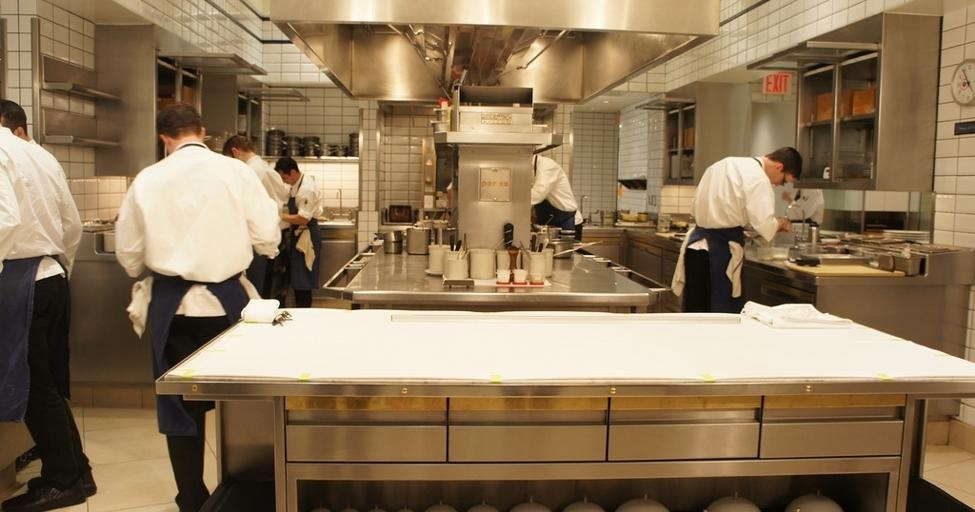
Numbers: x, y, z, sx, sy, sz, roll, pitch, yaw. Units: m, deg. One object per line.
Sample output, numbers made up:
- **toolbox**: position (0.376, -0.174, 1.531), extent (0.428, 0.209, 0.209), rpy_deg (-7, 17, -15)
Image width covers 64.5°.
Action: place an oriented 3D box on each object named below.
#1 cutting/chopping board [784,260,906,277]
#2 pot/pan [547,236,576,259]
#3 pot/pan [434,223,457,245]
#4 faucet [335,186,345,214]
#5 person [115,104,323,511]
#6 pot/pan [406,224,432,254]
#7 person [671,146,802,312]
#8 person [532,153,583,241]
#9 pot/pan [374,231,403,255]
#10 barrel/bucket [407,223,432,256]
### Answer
- **cutting/chopping board**: position (3.303, 0.129, 7.180), extent (1.003, 0.094, 0.431), rpy_deg (2, 6, 10)
- **pot/pan**: position (0.729, -0.085, 7.584), extent (0.312, 0.236, 0.169), rpy_deg (1, 1, -20)
- **pot/pan**: position (-0.423, -0.207, 7.675), extent (0.259, 0.248, 0.239), rpy_deg (1, 6, 8)
- **faucet**: position (-2.238, -0.856, 11.764), extent (0.109, 0.343, 0.226), rpy_deg (0, 6, -12)
- **person**: position (-2.305, 0.401, 6.076), extent (1.225, 3.196, 0.611), rpy_deg (1, 6, -6)
- **pot/pan**: position (-0.618, -0.162, 7.785), extent (0.280, 0.331, 0.269), rpy_deg (1, 1, -1)
- **person**: position (2.282, -0.202, 7.488), extent (0.908, 1.499, 0.313), rpy_deg (3, 6, 11)
- **person**: position (0.791, -0.654, 8.861), extent (0.563, 1.027, 1.377), rpy_deg (2, 6, 5)
- **pot/pan**: position (-0.993, -0.146, 7.864), extent (0.264, 0.237, 0.212), rpy_deg (1, 6, -4)
- **barrel/bucket**: position (-0.611, -0.163, 7.785), extent (0.285, 0.336, 0.274), rpy_deg (1, 1, 0)
